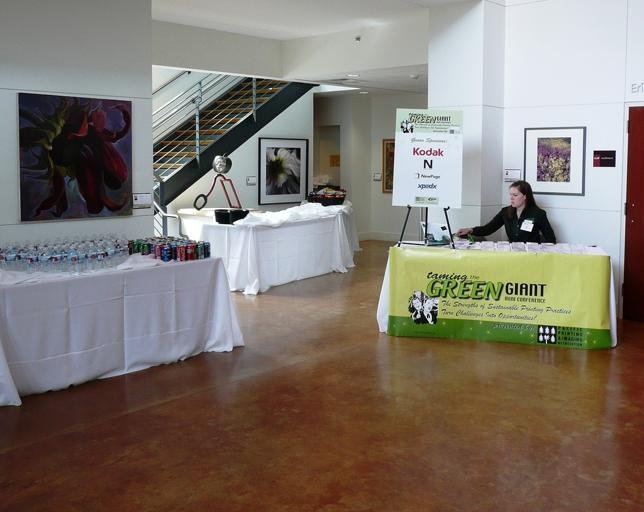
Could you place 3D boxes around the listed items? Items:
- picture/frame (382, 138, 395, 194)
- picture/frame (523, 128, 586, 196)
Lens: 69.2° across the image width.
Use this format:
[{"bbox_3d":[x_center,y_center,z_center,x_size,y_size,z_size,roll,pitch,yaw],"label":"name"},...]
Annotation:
[{"bbox_3d":[1.828,-2.433,12.620,0.083,1.482,0.491,-9,12,-44],"label":"picture/frame"},{"bbox_3d":[3.033,-1.220,6.042,0.803,1.078,0.063,1,3,39],"label":"picture/frame"}]
